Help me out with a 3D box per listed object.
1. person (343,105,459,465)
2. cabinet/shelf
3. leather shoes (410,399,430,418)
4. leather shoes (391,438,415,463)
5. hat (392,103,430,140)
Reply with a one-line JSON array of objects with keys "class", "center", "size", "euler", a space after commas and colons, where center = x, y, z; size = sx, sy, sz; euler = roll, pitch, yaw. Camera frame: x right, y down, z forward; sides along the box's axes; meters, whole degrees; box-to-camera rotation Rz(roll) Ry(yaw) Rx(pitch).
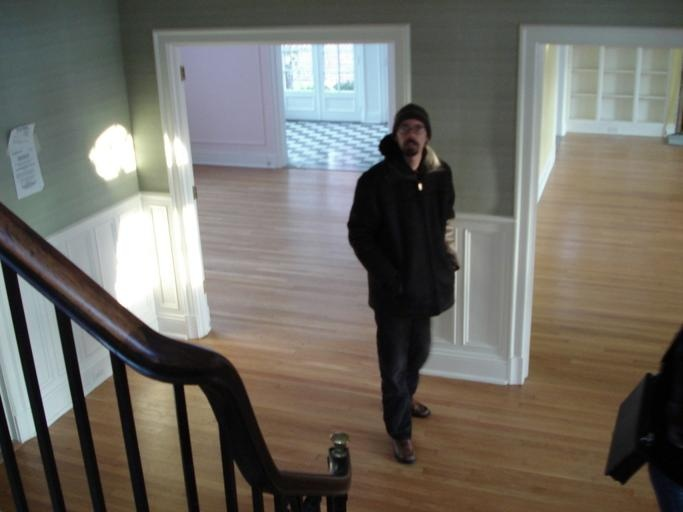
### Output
[{"class": "person", "center": [0.368, 0.140, 3.142], "size": [0.597, 1.932, 0.417], "euler": [-14, 24, -29]}, {"class": "cabinet/shelf", "center": [5.004, -2.985, 9.746], "size": [1.899, 1.569, 0.572], "euler": [8, 23, 24]}, {"class": "leather shoes", "center": [0.527, 1.039, 3.664], "size": [0.168, 0.074, 0.069], "euler": [16, 40, 37]}, {"class": "leather shoes", "center": [0.372, 1.197, 3.299], "size": [0.076, 0.085, 0.196], "euler": [-8, 24, -14]}, {"class": "hat", "center": [0.391, -0.763, 3.040], "size": [0.213, 0.208, 0.238], "euler": [-5, 4, -7]}]
